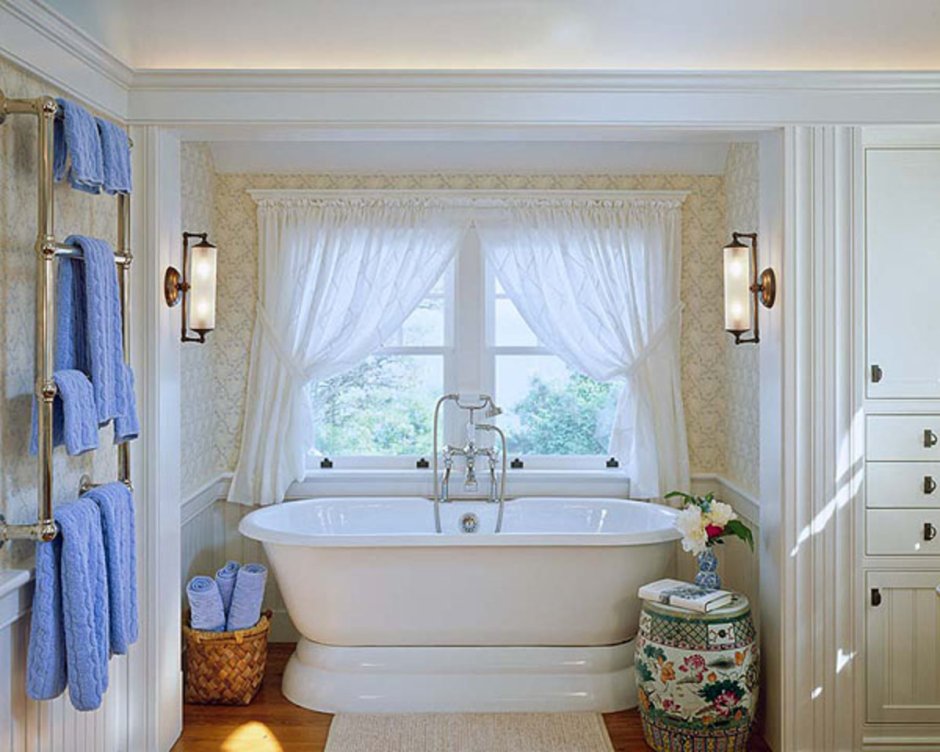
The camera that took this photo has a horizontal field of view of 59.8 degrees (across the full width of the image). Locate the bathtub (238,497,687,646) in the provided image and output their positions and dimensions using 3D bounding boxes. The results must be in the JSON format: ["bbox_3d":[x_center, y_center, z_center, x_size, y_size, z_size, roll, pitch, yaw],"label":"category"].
[{"bbox_3d":[0.021,0.947,3.994,2.196,0.610,0.749,-1,2,-2],"label":"bathtub"}]

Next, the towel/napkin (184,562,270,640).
[{"bbox_3d":[-1.137,1.044,3.897,0.402,0.451,0.247,1,-7,-14],"label":"towel/napkin"}]

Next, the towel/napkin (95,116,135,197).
[{"bbox_3d":[-1.330,-0.806,2.974,0.251,0.274,0.071,9,19,33],"label":"towel/napkin"}]

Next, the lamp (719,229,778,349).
[{"bbox_3d":[1.264,-0.408,3.723,0.204,0.505,0.537,0,2,16],"label":"lamp"}]

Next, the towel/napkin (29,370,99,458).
[{"bbox_3d":[-1.335,0.108,2.717,0.152,0.263,0.192,12,12,34],"label":"towel/napkin"}]

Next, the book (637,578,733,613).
[{"bbox_3d":[0.896,0.929,3.456,0.205,0.050,0.191,-3,-4,44],"label":"book"}]

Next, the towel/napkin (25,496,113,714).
[{"bbox_3d":[-1.313,0.756,2.681,0.165,0.662,0.267,2,3,42],"label":"towel/napkin"}]

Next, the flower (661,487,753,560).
[{"bbox_3d":[1.057,0.653,3.726,0.344,0.226,0.378,6,-11,-3],"label":"flower"}]

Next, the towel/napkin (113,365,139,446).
[{"bbox_3d":[-1.249,0.111,2.970,0.049,0.233,0.168,-1,-2,0],"label":"towel/napkin"}]

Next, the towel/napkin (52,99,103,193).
[{"bbox_3d":[-1.287,-0.784,2.789,0.258,0.298,0.083,-2,4,38],"label":"towel/napkin"}]
